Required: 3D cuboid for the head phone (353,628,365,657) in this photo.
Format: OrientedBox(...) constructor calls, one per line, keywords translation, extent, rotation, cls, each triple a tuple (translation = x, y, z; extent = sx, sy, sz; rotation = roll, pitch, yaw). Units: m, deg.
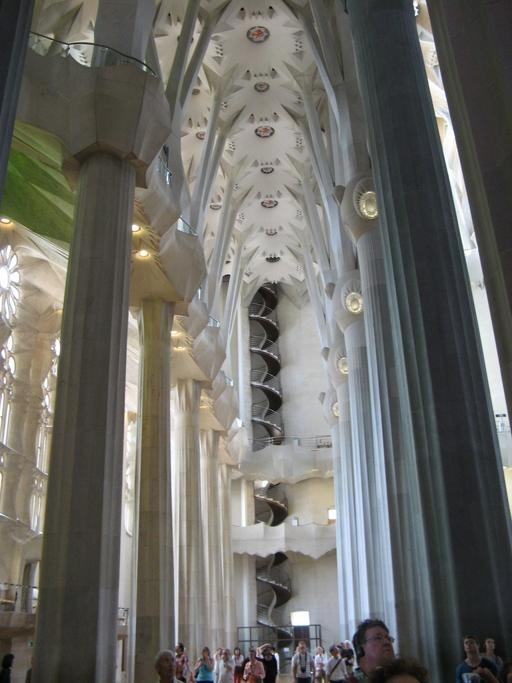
OrientedBox(translation=(0.347, 0.998, 1.982), extent=(0.031, 0.095, 0.069), rotation=(2, -6, 9), cls="head phone")
